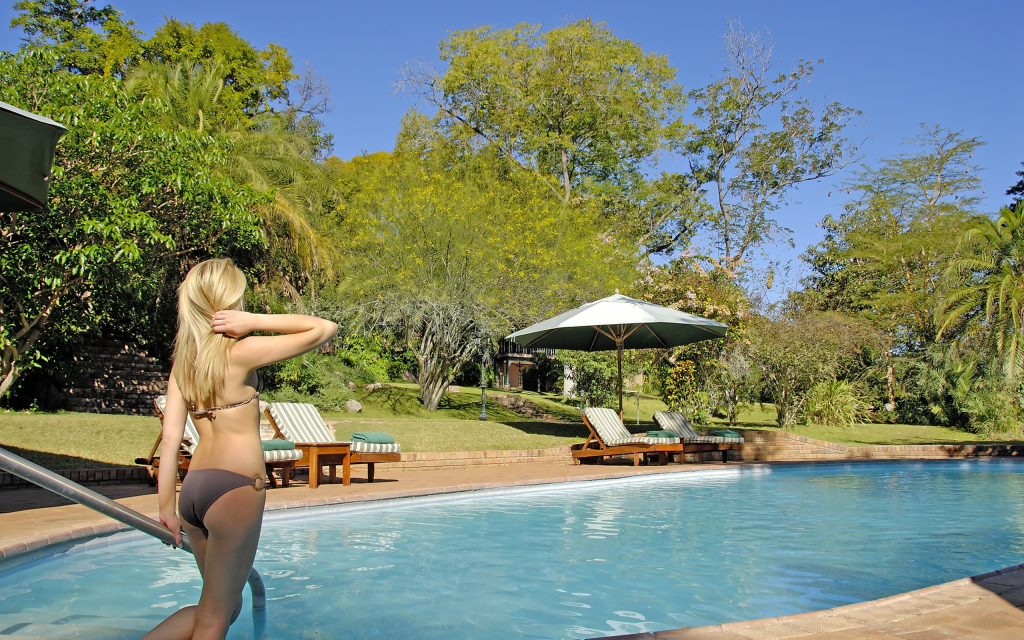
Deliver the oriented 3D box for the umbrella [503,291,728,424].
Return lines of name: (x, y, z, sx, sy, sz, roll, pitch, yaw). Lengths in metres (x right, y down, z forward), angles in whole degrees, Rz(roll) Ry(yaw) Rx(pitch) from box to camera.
umbrella: (3.278, 0.954, 21.155, 5.789, 3.447, 3.583, -1, -12, 9)
